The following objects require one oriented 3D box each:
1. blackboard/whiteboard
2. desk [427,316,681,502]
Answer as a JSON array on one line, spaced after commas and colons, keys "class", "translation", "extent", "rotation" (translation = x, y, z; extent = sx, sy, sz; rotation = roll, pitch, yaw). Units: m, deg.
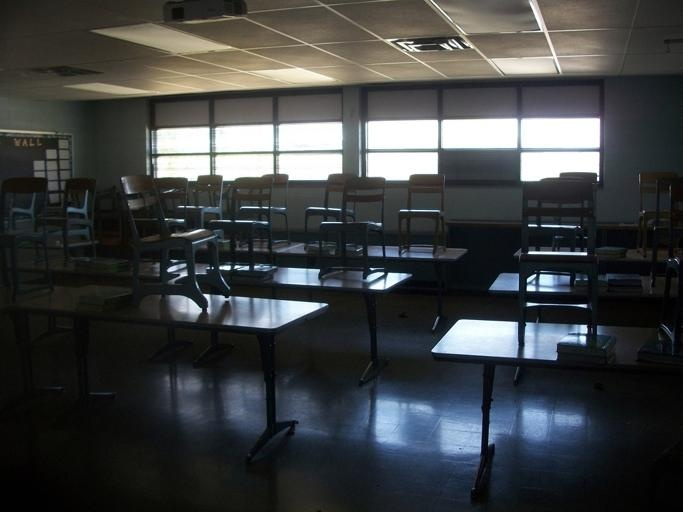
[{"class": "blackboard/whiteboard", "translation": [2.113, -0.780, 8.418], "extent": [1.290, 0.577, 0.132], "rotation": [-1, 1, -16]}, {"class": "desk", "translation": [1.200, 1.069, 3.433], "extent": [1.657, 0.765, 0.881], "rotation": [2, 16, 17]}]
